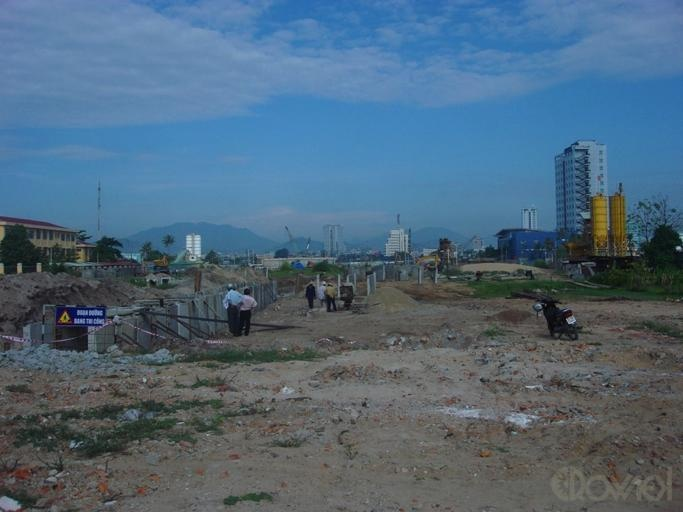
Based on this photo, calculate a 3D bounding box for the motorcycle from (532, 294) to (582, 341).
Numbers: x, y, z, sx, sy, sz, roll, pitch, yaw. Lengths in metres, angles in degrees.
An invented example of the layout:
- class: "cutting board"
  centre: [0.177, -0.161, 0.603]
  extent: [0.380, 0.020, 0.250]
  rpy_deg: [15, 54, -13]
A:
- class: "motorcycle"
  centre: [6.556, 1.978, 17.478]
  extent: [1.172, 1.250, 1.834]
  rpy_deg: [1, 8, 16]
